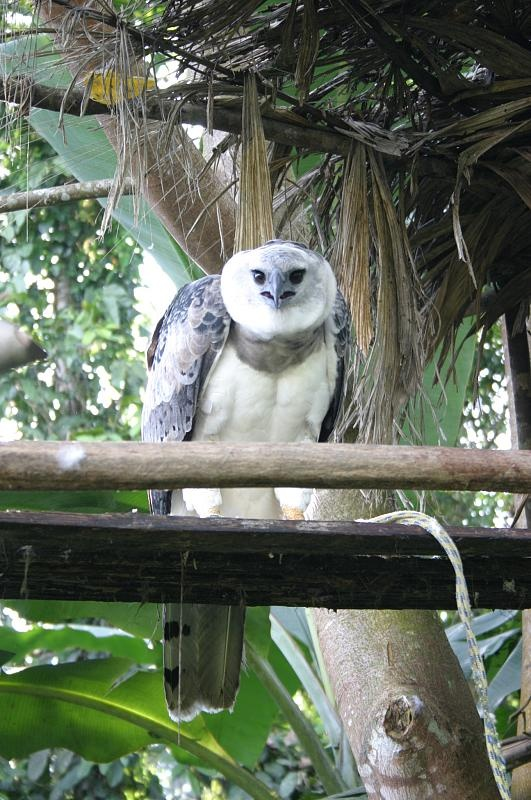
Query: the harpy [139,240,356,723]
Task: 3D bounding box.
[{"bbox_3d":[-0.090,0.249,5.192,0.720,1.345,1.500,11,45,-19],"label":"harpy"}]
